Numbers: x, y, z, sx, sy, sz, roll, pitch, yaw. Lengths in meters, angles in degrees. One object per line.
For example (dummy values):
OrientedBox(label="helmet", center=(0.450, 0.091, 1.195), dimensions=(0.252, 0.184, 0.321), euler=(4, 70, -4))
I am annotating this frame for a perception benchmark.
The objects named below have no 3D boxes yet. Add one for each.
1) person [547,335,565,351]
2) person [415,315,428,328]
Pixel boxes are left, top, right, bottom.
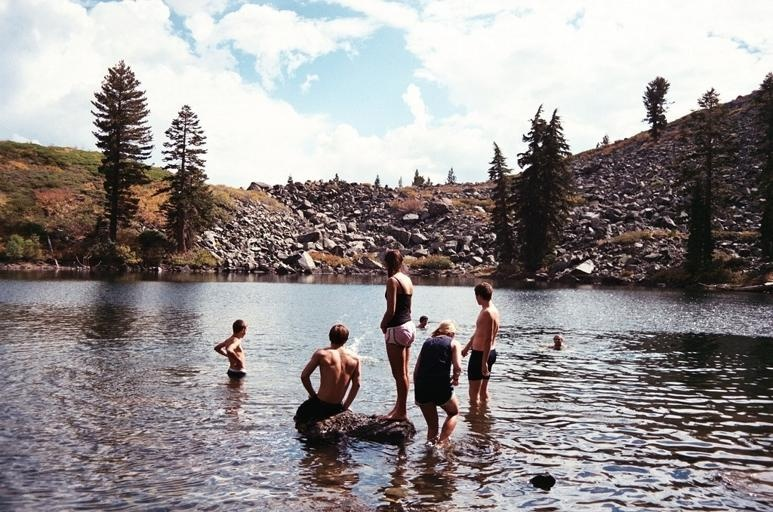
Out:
OrientedBox(label="person", center=(8.321, 4.210, 34.966), dimensions=(0.945, 0.799, 0.672), euler=(2, -16, 7))
OrientedBox(label="person", center=(2.177, 3.672, 39.771), dimensions=(0.692, 0.574, 0.753), euler=(0, 9, -17))
